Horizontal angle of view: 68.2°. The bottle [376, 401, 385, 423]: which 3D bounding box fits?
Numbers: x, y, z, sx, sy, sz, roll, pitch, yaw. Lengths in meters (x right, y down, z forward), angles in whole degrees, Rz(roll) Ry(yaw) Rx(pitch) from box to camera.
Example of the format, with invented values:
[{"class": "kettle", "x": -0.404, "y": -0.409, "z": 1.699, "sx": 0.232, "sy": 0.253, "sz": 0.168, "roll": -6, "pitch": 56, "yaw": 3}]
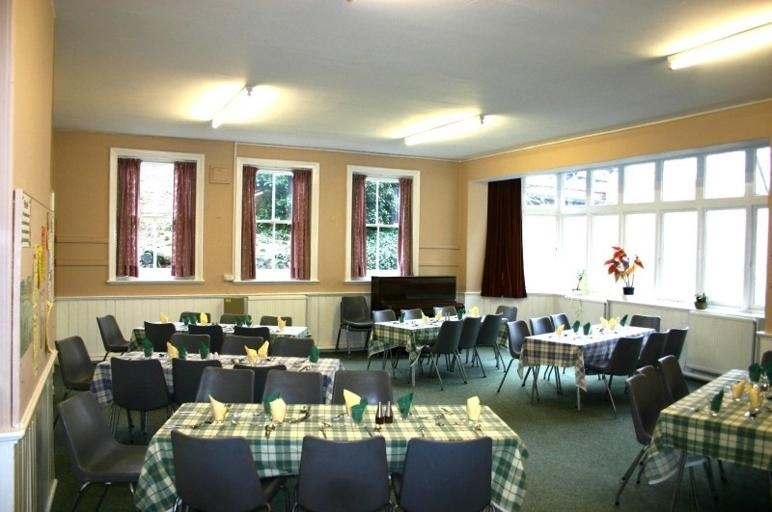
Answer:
[{"class": "bottle", "x": -0.060, "y": 1.401, "z": 5.096, "sx": 0.083, "sy": 0.177, "sz": 0.194, "roll": 0, "pitch": 0, "yaw": -1}]
